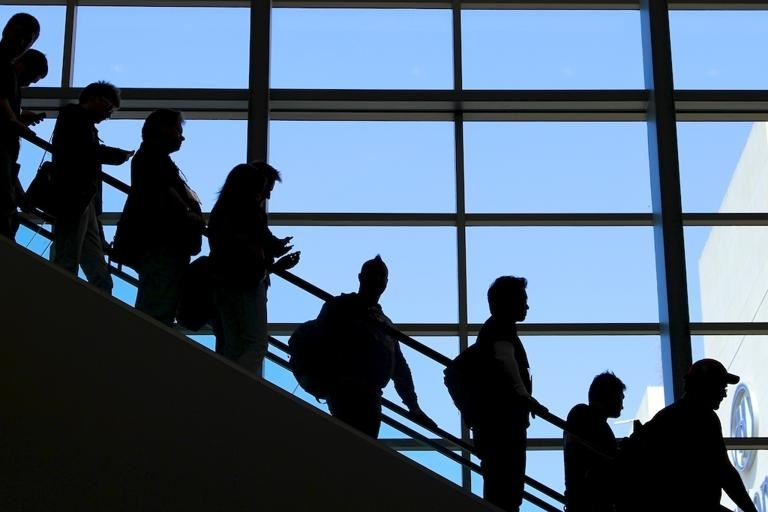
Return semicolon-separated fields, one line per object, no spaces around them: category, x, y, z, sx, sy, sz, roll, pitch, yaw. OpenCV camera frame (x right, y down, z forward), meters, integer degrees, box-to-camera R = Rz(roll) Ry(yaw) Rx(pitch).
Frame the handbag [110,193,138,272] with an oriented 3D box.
handbag;-2.364;-0.206;14.518;0.399;0.491;0.133;1;-8;-15

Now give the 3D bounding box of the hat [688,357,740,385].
hat;2.929;0.994;14.393;0.365;0.180;0.243;4;-8;-2

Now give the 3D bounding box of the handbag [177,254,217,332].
handbag;-1.708;0.339;14.551;0.162;0.583;0.442;9;-1;41

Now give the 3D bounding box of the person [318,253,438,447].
person;-0.212;0.885;14.699;0.638;1.496;1.059;-11;-50;18
